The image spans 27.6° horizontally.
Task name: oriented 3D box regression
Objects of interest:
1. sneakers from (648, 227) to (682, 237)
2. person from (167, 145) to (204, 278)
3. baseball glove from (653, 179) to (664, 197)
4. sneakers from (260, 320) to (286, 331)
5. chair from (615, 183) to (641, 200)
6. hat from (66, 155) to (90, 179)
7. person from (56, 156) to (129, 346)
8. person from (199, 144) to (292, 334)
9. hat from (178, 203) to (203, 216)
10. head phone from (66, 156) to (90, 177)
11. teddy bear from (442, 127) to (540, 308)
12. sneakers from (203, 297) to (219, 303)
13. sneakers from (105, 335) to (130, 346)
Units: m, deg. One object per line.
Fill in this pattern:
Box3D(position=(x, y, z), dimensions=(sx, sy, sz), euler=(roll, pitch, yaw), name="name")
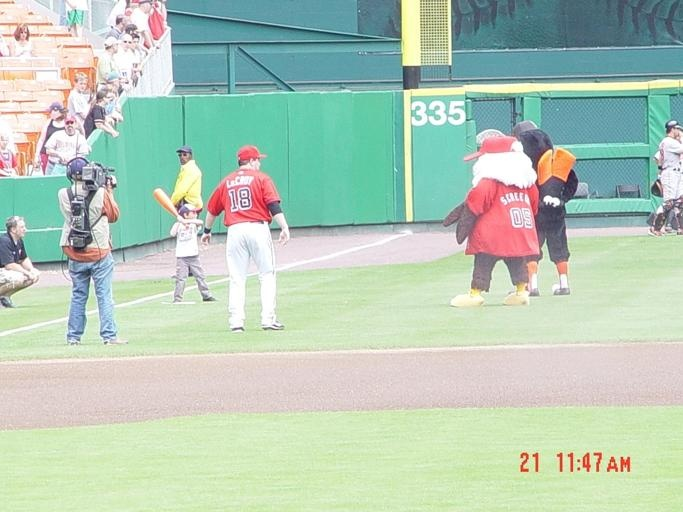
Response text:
Box3D(position=(6.088, -0.449, 26.223), dimensions=(0.692, 0.251, 0.198), euler=(-3, 8, -2), name="sneakers")
Box3D(position=(-2.203, -0.818, 20.254), dimensions=(0.567, 1.505, 0.548), euler=(21, 29, 39), name="person")
Box3D(position=(5.899, -1.269, 25.888), dimensions=(0.110, 0.303, 0.234), euler=(-9, -4, 12), name="baseball glove")
Box3D(position=(-0.844, 0.873, 17.072), dimensions=(0.309, 0.133, 0.101), euler=(0, 1, -10), name="sneakers")
Box3D(position=(6.019, -1.355, 29.165), dimensions=(0.433, 0.292, 0.333), euler=(-1, 1, 3), name="chair")
Box3D(position=(-3.140, -1.020, 16.342), dimensions=(0.294, 0.241, 0.275), euler=(-7, 23, -23), name="hat")
Box3D(position=(-2.960, -0.048, 16.367), dimensions=(0.698, 2.225, 0.677), euler=(-4, 9, -11), name="person")
Box3D(position=(-1.141, -0.069, 16.987), dimensions=(0.990, 1.993, 0.519), euler=(-2, 9, 4), name="person")
Box3D(position=(-2.181, -0.668, 19.906), dimensions=(0.296, 0.099, 0.177), euler=(-5, 8, -3), name="hat")
Box3D(position=(-3.110, -1.052, 16.361), dimensions=(0.280, 0.228, 0.260), euler=(1, -1, -6), name="head phone")
Box3D(position=(2.021, -0.433, 18.237), dimensions=(1.117, 2.235, 0.855), euler=(-2, 9, 6), name="teddy bear")
Box3D(position=(-1.865, 0.615, 19.684), dimensions=(0.231, 0.136, 0.071), euler=(-2, 17, -13), name="sneakers")
Box3D(position=(-2.625, 1.002, 16.341), dimensions=(0.306, 0.106, 0.104), euler=(-1, 3, -5), name="sneakers")
